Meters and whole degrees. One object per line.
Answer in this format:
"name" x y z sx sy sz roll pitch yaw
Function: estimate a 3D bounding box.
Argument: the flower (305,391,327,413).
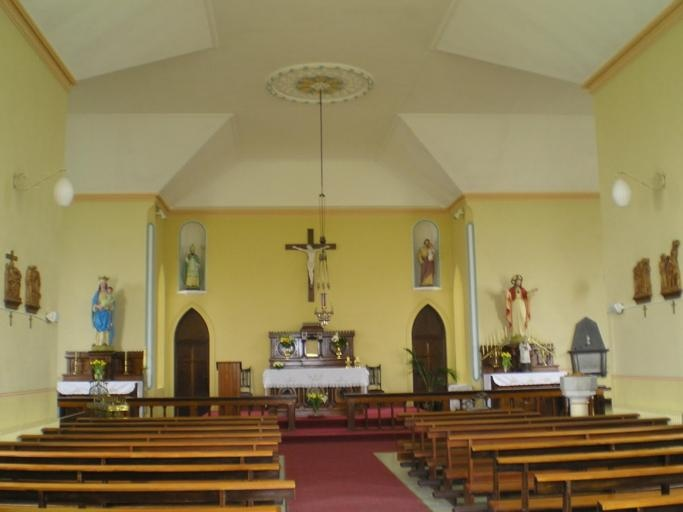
"flower" -0.491 3.000 13.996 0.491 0.606 0.529 1 -6 -8

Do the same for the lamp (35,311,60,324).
"lamp" -4.190 0.882 9.601 0.301 0.165 0.201 -2 -3 37

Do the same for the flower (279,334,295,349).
"flower" -1.303 2.153 16.841 0.392 0.359 0.391 1 -12 -7

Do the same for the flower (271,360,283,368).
"flower" -1.439 2.589 15.934 0.179 0.138 0.190 5 -7 -15

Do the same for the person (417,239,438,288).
"person" 2.372 0.138 17.969 0.516 1.371 0.535 0 -11 0

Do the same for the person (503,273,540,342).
"person" 4.018 1.168 15.298 0.546 1.468 0.468 -8 -13 34

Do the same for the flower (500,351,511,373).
"flower" 3.679 2.337 14.773 0.211 0.435 0.323 -3 -12 12

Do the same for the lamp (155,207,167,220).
"lamp" -4.384 -1.043 16.378 0.127 0.178 0.235 -7 -20 -3

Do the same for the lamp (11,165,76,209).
"lamp" -4.041 -0.969 9.213 0.793 0.478 0.326 10 3 -14

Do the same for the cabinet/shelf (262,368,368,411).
"cabinet/shelf" -0.552 2.959 15.577 2.284 0.960 0.889 0 8 -3

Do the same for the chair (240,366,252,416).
"chair" -2.382 3.186 17.150 0.285 0.682 0.291 1 -11 -7

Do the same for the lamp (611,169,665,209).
"lamp" 4.364 -0.959 9.611 0.811 0.575 0.293 1 0 15

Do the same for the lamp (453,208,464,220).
"lamp" 2.998 -1.049 16.777 0.191 0.216 0.152 5 5 7

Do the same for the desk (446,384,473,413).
"desk" 2.533 2.938 14.092 0.504 0.575 4.429 -2 -13 10

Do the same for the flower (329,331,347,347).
"flower" -0.035 2.095 16.744 0.344 0.345 0.344 4 -7 -38

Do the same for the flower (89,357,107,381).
"flower" -4.997 2.348 13.714 0.355 0.424 0.373 -6 -12 23

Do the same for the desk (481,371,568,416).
"desk" 3.544 2.668 13.240 1.689 0.923 3.217 -4 -13 16

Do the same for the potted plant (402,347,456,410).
"potted plant" 2.360 3.138 17.226 1.494 1.654 1.226 6 -17 -23
